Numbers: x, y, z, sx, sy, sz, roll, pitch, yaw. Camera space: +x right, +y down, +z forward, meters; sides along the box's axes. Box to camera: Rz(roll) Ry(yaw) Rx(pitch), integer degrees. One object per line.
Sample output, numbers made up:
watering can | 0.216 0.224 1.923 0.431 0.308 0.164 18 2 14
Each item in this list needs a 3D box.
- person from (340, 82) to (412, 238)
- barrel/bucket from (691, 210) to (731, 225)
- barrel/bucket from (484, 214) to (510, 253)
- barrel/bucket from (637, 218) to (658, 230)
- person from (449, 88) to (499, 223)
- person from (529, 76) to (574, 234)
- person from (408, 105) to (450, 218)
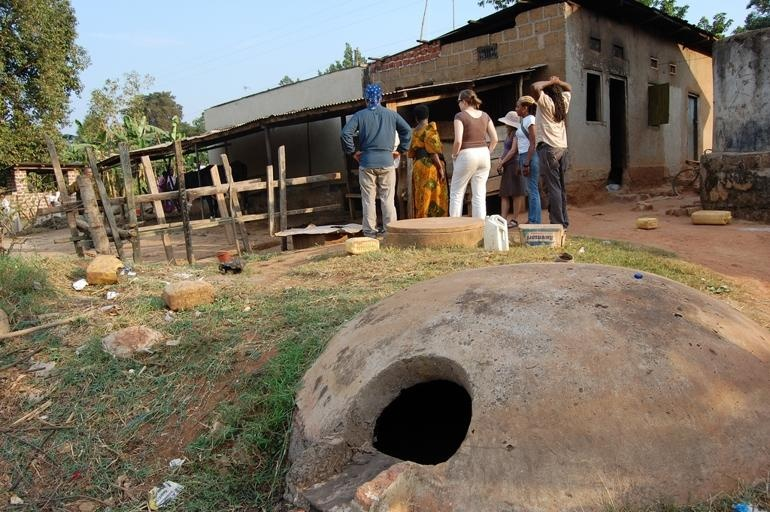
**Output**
person | -0.094 -1.440 7.645 1.061 2.301 0.553 -6 9 -11
barrel/bucket | 6.264 -0.730 9.619 0.621 0.254 0.535 2 11 36
barrel/bucket | 1.438 -0.287 6.520 0.320 0.423 0.426 -3 9 11
barrel/bucket | 4.890 -0.595 9.303 0.259 0.183 0.257 -1 7 0
person | 1.266 -1.524 7.468 0.731 1.913 0.864 -1 9 25
person | 2.369 -1.443 7.103 0.489 2.167 0.739 -2 9 19
person | 0.656 -1.460 7.842 0.543 1.712 0.587 -4 9 7
